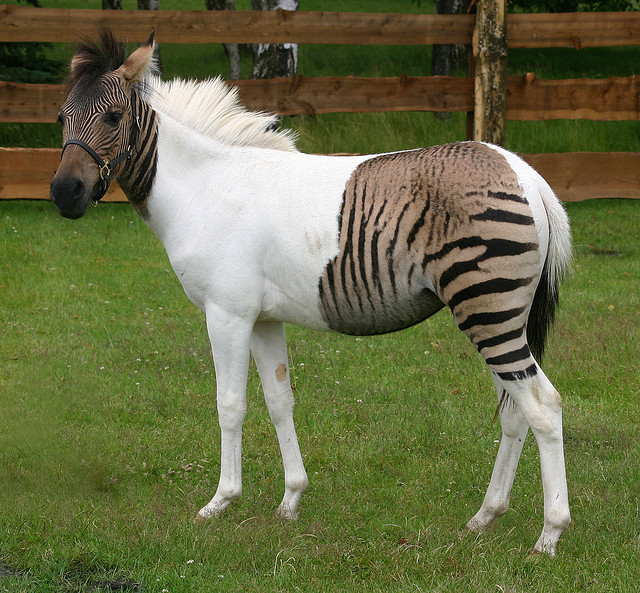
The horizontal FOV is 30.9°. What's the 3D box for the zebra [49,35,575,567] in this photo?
[{"bbox_3d":[-0.094,0.149,8.868,3.866,3.731,1.251,2,12,14],"label":"zebra"}]
